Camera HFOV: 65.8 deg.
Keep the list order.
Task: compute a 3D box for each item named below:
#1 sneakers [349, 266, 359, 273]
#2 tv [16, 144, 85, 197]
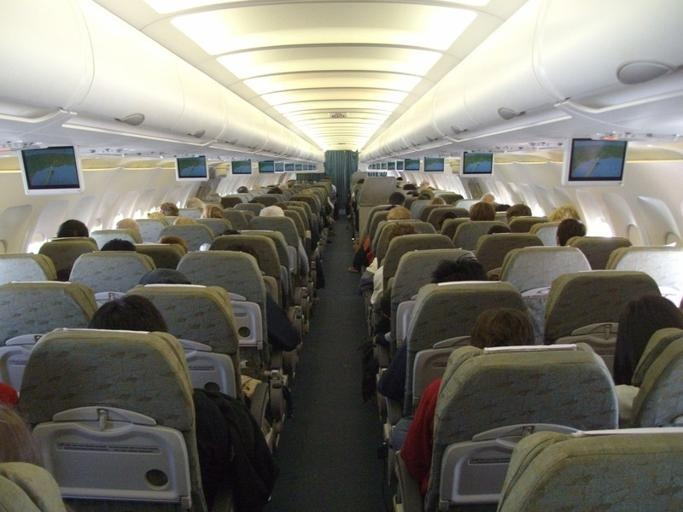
[{"bbox_3d":[0.264,0.295,11.895,0.297,0.167,0.087,-1,22,15],"label":"sneakers"},{"bbox_3d":[-3.259,-0.983,5.845,0.086,0.581,0.699,9,15,27],"label":"tv"}]
